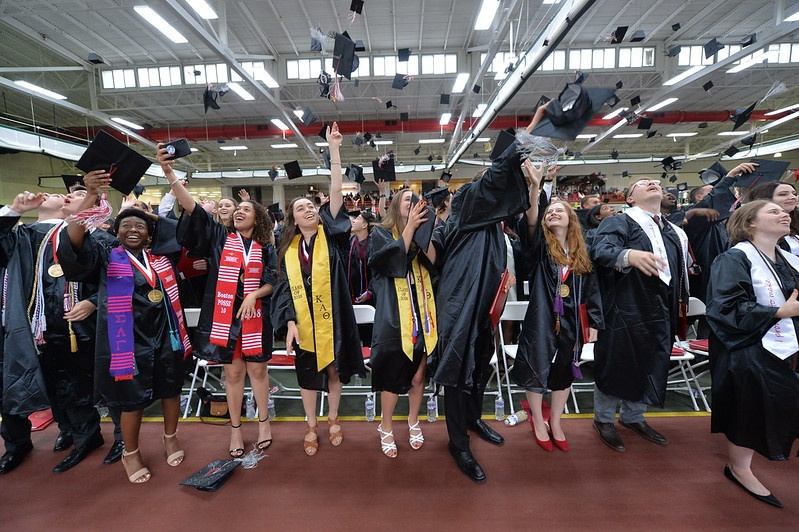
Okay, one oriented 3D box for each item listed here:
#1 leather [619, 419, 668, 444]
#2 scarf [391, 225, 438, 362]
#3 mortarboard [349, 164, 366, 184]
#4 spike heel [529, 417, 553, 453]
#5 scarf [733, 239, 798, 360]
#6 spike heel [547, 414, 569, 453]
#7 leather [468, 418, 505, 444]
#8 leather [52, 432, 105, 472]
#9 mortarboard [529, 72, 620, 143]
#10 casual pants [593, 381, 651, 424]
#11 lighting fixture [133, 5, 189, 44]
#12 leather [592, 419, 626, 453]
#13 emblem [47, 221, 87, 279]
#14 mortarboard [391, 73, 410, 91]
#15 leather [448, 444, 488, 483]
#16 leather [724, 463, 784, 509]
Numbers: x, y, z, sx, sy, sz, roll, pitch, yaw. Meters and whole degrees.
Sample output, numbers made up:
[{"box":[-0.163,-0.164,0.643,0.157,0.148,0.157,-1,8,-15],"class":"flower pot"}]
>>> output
[{"box":[3.079,2.062,6.400,0.517,0.228,0.178,12,21,35],"class":"leather"},{"box":[0.224,0.314,6.193,0.493,1.607,0.168,2,-18,-16],"class":"scarf"},{"box":[-0.651,-1.470,8.051,0.300,0.310,0.109,12,47,23],"class":"mortarboard"},{"box":[1.746,2.083,6.320,0.147,0.188,0.433,-11,42,-11],"class":"spike heel"},{"box":[4.201,0.440,5.696,1.005,0.996,0.301,26,-27,-35],"class":"scarf"},{"box":[1.953,2.059,6.302,0.154,0.201,0.463,-9,27,-3],"class":"spike heel"},{"box":[1.081,2.035,6.398,0.545,0.221,0.186,15,35,35],"class":"leather"},{"box":[-3.923,2.293,6.286,0.206,0.193,0.619,30,59,30],"class":"leather"},{"box":[1.964,-1.700,5.628,0.255,0.857,0.853,33,-13,-27],"class":"mortarboard"},{"box":[2.745,1.670,6.264,0.609,0.776,0.280,0,-1,-9],"class":"casual pants"},{"box":[-4.830,-4.911,10.332,0.593,0.327,1.586,-2,-2,-8],"class":"lighting fixture"},{"box":[2.580,2.086,6.220,0.158,0.179,0.448,-3,8,-3],"class":"leather"},{"box":[-3.889,-0.182,5.840,0.528,0.740,0.311,2,10,25],"class":"emblem"},{"box":[0.038,-4.175,11.388,0.349,0.324,0.694,-2,-2,-5],"class":"mortarboard"},{"box":[0.781,2.279,6.054,0.215,0.217,0.571,-19,32,-28],"class":"leather"},{"box":[4.147,2.523,5.763,0.224,0.288,0.726,-9,17,-42],"class":"leather"}]
